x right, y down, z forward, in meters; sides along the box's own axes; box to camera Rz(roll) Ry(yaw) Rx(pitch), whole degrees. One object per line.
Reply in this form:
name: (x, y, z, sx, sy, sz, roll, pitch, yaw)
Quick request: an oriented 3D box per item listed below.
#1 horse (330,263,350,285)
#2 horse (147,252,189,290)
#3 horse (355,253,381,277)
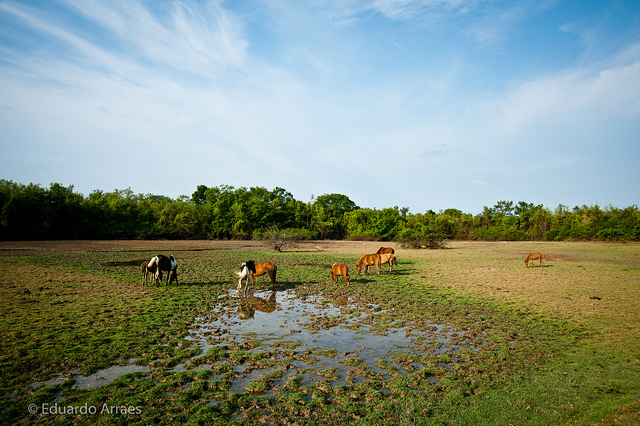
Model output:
horse: (1.275, 3.757, 25.506, 0.652, 1.294, 1.760, -7, 15, -22)
horse: (-9.411, 3.464, 25.499, 0.852, 1.987, 3.194, -10, -9, 11)
horse: (3.479, 3.568, 29.610, 1.566, 1.843, 2.751, 1, 13, 7)
